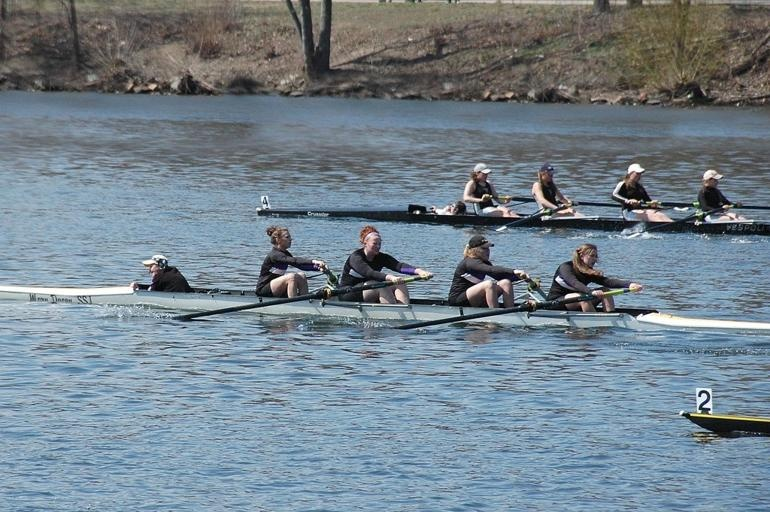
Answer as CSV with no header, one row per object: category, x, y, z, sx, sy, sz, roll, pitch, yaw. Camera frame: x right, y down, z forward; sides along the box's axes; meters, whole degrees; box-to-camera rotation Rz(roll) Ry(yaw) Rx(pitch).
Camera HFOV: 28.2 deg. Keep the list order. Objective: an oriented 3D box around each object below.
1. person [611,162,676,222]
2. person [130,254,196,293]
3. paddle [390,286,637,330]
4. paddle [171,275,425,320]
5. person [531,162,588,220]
person,7.403,-1.819,44.123,1.201,1.551,1.457,-9,16,-16
person,-5.355,0.384,36.460,1.274,0.935,0.948,2,-2,6
paddle,3.006,1.212,35.481,5.532,0.349,0.289,-7,49,1
paddle,-2.011,0.991,36.022,7.139,0.406,0.395,-5,42,2
person,4.956,-1.921,44.520,1.203,1.481,1.244,-8,17,-16
